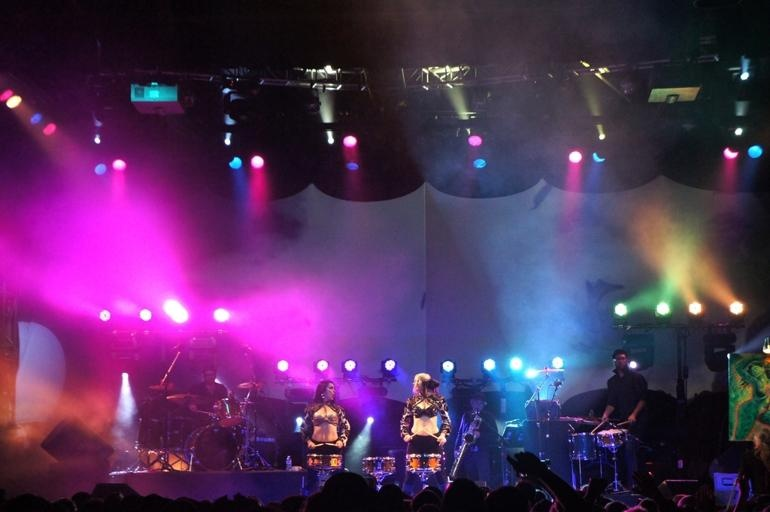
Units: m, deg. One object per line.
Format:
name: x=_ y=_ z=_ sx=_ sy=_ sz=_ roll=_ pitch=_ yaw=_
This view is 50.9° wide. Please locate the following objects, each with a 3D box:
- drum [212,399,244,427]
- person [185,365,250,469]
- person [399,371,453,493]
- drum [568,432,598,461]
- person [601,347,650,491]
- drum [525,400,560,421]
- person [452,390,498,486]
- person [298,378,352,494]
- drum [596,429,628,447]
drum: x=-2.970 y=2.973 z=15.268 sx=0.523 sy=0.482 sz=0.464 roll=-20 pitch=-7 yaw=6
person: x=-3.052 y=3.114 z=14.891 sx=0.695 sy=1.428 sz=0.820 roll=0 pitch=-4 yaw=-9
person: x=0.719 y=3.385 z=14.746 sx=0.867 sy=2.335 sz=0.754 roll=-1 pitch=-3 yaw=11
drum: x=3.489 y=3.389 z=14.364 sx=0.471 sy=0.469 sz=0.481 roll=-13 pitch=-18 yaw=35
person: x=4.413 y=3.026 z=14.863 sx=0.719 sy=2.356 sz=0.814 roll=2 pitch=-8 yaw=1
drum: x=3.054 y=3.164 z=15.719 sx=0.667 sy=0.443 sz=0.379 roll=-1 pitch=-31 yaw=3
person: x=1.758 y=3.440 z=15.634 sx=0.859 sy=1.787 sz=0.733 roll=-1 pitch=-3 yaw=2
person: x=-1.086 y=3.277 z=14.756 sx=0.940 sy=1.740 sz=0.788 roll=-1 pitch=-4 yaw=-14
drum: x=3.924 y=3.163 z=14.050 sx=0.361 sy=0.222 sz=0.372 roll=-5 pitch=-10 yaw=-1
